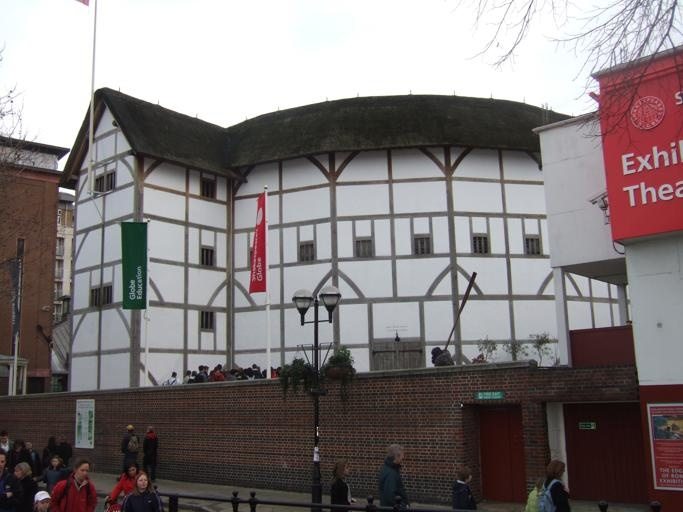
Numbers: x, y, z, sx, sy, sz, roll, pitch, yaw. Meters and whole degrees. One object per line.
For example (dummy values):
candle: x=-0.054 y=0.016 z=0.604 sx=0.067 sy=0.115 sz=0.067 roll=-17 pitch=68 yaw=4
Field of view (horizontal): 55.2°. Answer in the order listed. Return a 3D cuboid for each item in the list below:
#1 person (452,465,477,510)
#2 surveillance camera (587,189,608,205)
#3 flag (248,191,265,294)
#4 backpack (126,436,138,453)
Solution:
person: x=2.280 y=4.392 z=12.323 sx=0.420 sy=0.729 sz=1.807 roll=-5 pitch=-15 yaw=9
surveillance camera: x=7.282 y=-1.672 z=18.541 sx=0.242 sy=0.336 sz=0.817 roll=0 pitch=-15 yaw=-12
flag: x=-3.458 y=-0.433 z=26.902 sx=0.571 sy=3.907 sz=2.325 roll=1 pitch=-14 yaw=-14
backpack: x=-7.086 y=6.358 z=21.922 sx=0.274 sy=0.539 sz=0.374 roll=-13 pitch=-19 yaw=29
